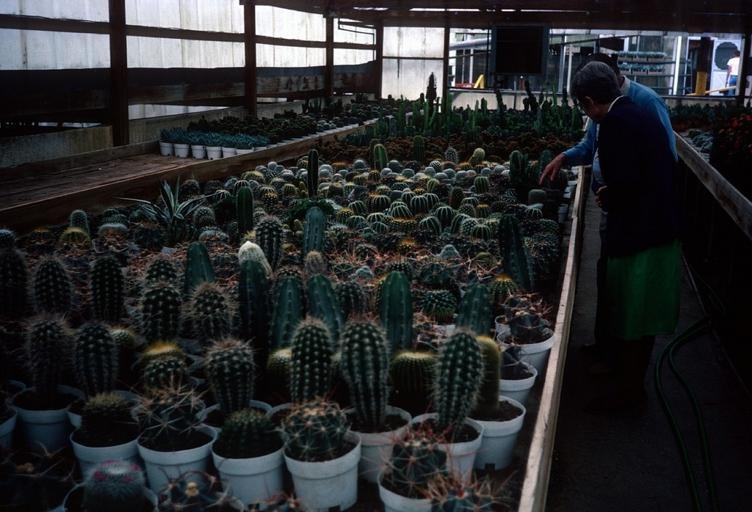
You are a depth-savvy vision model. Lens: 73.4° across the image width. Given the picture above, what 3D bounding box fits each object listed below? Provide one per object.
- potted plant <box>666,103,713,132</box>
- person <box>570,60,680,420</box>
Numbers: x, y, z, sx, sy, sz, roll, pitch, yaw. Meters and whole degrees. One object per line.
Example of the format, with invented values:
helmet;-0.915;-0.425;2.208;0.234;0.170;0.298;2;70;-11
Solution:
potted plant;7.107;-3.184;11.493;1.009;0.618;1.183;6;24;18
person;1.390;0.002;2.732;0.447;1.673;0.302;-6;14;-19
